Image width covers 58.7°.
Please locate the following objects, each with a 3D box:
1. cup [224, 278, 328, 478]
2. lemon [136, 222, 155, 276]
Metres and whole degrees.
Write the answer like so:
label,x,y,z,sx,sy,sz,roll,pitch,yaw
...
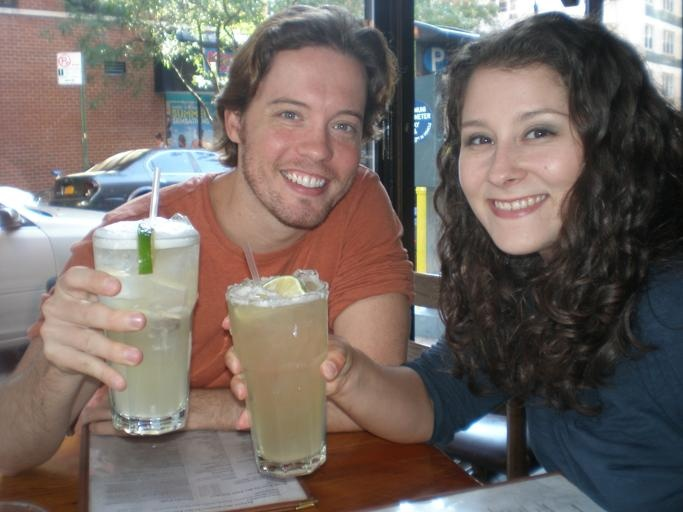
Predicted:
label,x,y,z,sx,sy,sz,roll,pitch,yaw
cup,-0.169,0.317,1.659,0.267,0.514,0.259,0,15,0
lemon,-0.512,-0.027,1.592,0.049,0.171,0.047,-11,39,-28
